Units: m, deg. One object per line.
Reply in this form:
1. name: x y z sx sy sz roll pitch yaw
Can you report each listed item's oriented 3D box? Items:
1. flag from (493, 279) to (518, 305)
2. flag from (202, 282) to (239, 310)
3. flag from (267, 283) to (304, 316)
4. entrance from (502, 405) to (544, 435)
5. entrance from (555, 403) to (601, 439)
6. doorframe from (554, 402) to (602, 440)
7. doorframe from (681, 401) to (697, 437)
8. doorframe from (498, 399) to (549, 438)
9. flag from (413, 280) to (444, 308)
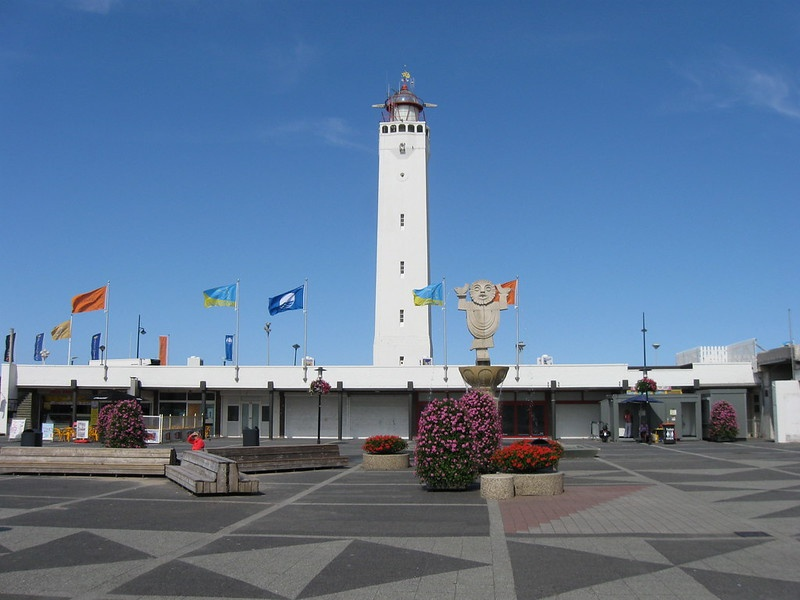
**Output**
1. flag: 5.209 -0.397 39.286 1.530 1.744 0.154 0 12 -7
2. flag: -9.539 -0.161 42.057 1.536 1.304 0.262 -2 -17 2
3. flag: -6.120 0.109 42.204 1.656 1.323 0.292 -3 -3 -1
4. entrance: 7.736 7.611 49.979 1.839 1.349 0.148 1 -3 -2
5. entrance: 11.246 7.593 50.832 3.530 2.561 1.903 0 0 8
6. doorframe: 11.166 7.653 50.838 3.531 2.563 1.903 0 1 8
7. doorframe: 16.236 6.761 44.850 0.874 1.981 0.593 -4 -11 16
8. doorframe: 7.850 7.447 49.947 2.825 2.191 0.615 -2 -11 4
9. flag: 1.717 -0.331 49.783 1.783 1.723 0.319 1 -3 23
